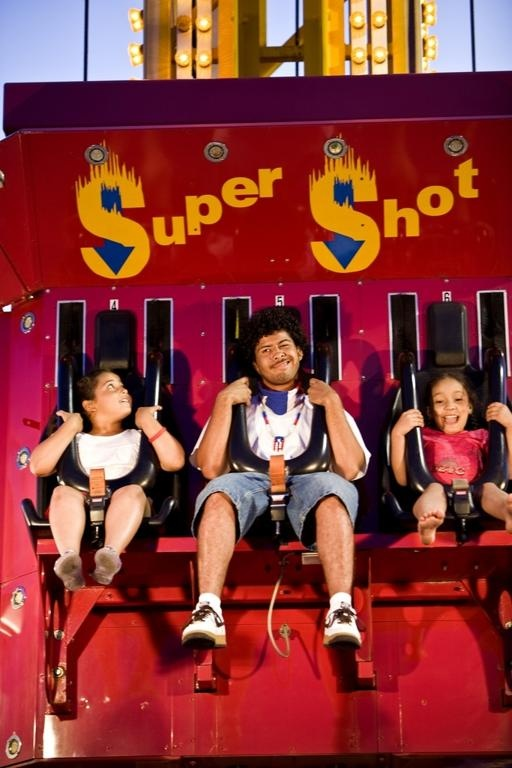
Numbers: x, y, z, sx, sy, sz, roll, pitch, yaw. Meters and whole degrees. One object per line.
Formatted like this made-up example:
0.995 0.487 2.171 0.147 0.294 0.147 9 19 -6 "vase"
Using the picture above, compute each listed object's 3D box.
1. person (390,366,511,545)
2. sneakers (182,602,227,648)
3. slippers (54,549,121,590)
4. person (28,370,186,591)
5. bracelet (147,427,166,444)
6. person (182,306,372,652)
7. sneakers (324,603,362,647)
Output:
0.768 0.266 3.290 0.481 0.628 0.739 -1 -1 9 "person"
-0.166 0.802 2.755 0.119 0.155 0.159 -1 -1 13 "sneakers"
-0.611 0.660 3.039 0.231 0.213 0.080 -3 23 -16 "slippers"
-0.607 0.355 3.351 0.635 0.272 1.178 -2 37 -4 "person"
-0.400 0.207 3.439 0.061 0.016 0.062 -37 1 -21 "bracelet"
0.081 0.309 3.240 0.719 1.321 1.135 -1 -1 4 "person"
0.279 0.790 2.757 0.110 0.129 0.150 -1 -1 2 "sneakers"
